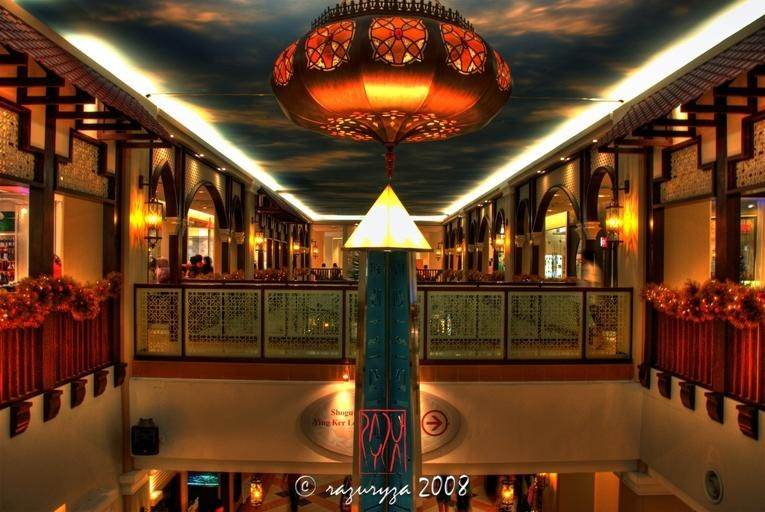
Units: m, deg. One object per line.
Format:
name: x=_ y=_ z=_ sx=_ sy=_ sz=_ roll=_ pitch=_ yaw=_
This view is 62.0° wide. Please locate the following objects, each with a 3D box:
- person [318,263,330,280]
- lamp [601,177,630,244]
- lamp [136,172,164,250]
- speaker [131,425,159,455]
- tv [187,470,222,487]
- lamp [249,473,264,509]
person: x=-2.940 y=0.792 z=31.561 sx=0.480 sy=0.770 sz=0.472 roll=1 pitch=-13 yaw=-5
lamp: x=4.133 y=-0.802 z=11.256 sx=0.372 sy=1.187 sz=0.694 roll=-2 pitch=-13 yaw=10
lamp: x=-4.119 y=-0.777 z=11.341 sx=0.407 sy=1.382 sz=1.265 roll=4 pitch=-14 yaw=-14
speaker: x=-3.834 y=2.948 z=10.229 sx=0.414 sy=0.448 sz=0.169 roll=1 pitch=-13 yaw=-3
tv: x=-3.917 y=4.908 z=13.959 sx=0.679 sy=0.401 sz=0.727 roll=3 pitch=-13 yaw=-12
lamp: x=-2.981 y=5.509 z=14.995 sx=0.388 sy=0.791 sz=1.267 roll=3 pitch=-13 yaw=-10
